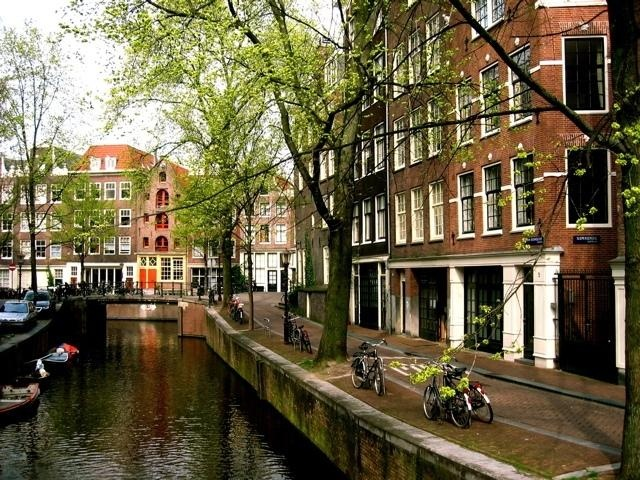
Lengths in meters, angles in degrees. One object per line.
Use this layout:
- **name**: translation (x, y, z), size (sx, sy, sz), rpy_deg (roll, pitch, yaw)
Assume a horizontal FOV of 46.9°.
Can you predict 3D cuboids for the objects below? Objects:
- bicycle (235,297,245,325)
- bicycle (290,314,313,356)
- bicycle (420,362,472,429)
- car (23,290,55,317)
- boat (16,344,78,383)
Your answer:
- **bicycle**: translation (-4.385, 3.872, 40.071), size (0.721, 1.132, 1.934), rpy_deg (0, -8, -11)
- **bicycle**: translation (-0.593, 3.728, 28.218), size (0.611, 0.770, 1.310), rpy_deg (-10, 5, -17)
- **bicycle**: translation (2.899, 3.632, 17.176), size (0.957, 1.468, 2.160), rpy_deg (1, -3, -18)
- **car**: translation (-17.220, 3.814, 45.795), size (1.510, 1.248, 3.457), rpy_deg (0, -8, -16)
- **boat**: translation (-13.174, 5.737, 35.630), size (0.974, 0.818, 4.463), rpy_deg (7, 1, -6)
